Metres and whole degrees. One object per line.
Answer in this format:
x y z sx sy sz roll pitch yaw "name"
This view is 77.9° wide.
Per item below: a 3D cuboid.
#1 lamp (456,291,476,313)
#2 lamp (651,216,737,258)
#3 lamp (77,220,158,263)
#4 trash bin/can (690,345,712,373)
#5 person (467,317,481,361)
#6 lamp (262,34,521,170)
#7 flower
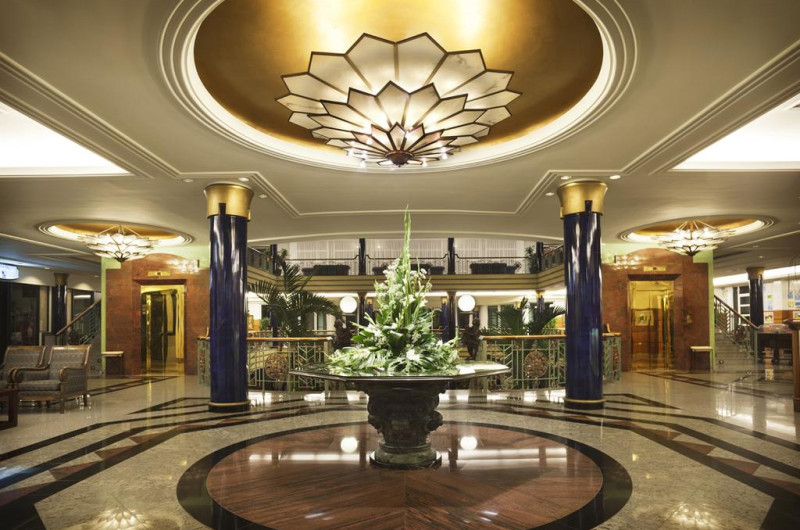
2.531 1.347 19.322 0.892 0.527 0.947 4 -18 -10 "lamp"
7.515 -0.675 12.820 1.257 0.550 1.160 -1 -3 1 "lamp"
-7.220 -0.526 12.891 1.326 0.632 1.234 -3 -7 9 "lamp"
8.956 2.768 14.722 0.761 0.906 0.718 2 -4 15 "trash bin/can"
2.037 2.040 13.723 0.420 1.117 1.225 -2 -10 8 "person"
-0.020 -2.035 6.379 2.812 0.875 1.937 -1 -10 1 "lamp"
-0.060 0.305 5.883 1.486 1.895 0.808 -1 -11 4 "flower"
